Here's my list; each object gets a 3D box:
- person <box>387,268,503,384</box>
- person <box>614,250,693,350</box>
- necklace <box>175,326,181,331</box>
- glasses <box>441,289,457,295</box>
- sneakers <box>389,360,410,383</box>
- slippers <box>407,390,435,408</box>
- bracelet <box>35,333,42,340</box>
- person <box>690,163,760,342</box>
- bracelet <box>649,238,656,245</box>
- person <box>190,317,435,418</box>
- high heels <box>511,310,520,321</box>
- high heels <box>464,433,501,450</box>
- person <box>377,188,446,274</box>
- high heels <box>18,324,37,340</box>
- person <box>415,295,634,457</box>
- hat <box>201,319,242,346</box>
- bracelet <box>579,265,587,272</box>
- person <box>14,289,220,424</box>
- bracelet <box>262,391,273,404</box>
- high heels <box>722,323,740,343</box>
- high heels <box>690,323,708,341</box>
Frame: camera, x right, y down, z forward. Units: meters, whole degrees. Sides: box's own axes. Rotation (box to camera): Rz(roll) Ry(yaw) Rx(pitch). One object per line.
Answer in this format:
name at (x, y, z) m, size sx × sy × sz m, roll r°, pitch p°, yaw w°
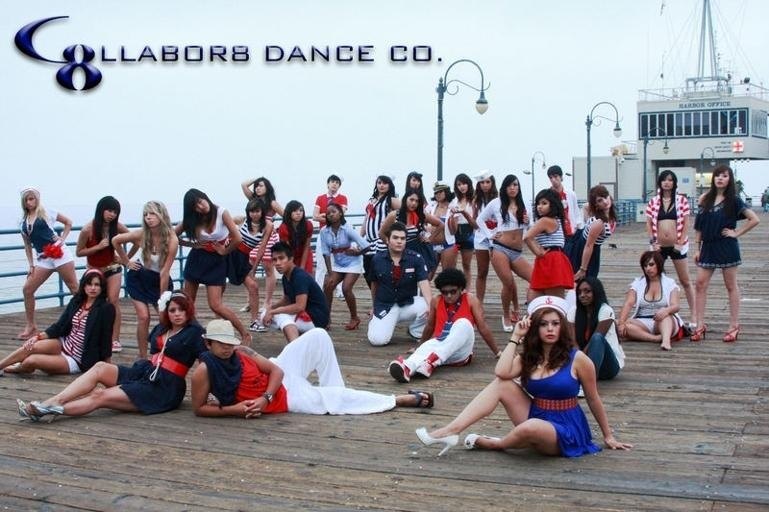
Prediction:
person at (0.662, 0.758, 8.594) m, size 0.928 × 0.925 × 1.196 m, roll 4°, pitch 11°, yaw 20°
person at (3.171, 0.556, 10.057) m, size 0.834 × 1.251 × 1.058 m, roll 0°, pitch 1°, yaw 34°
necklace at (-1.907, 0.669, 7.462) m, size 0.039 × 0.034 × 0.043 m, roll -1°, pitch -9°, yaw 2°
glasses at (0.691, 0.377, 8.543) m, size 0.161 × 0.080 × 0.064 m, roll 4°, pitch 11°, yaw 21°
sneakers at (0.169, 1.172, 8.249) m, size 0.120 × 0.319 × 0.137 m, roll -11°, pitch 14°, yaw 26°
slippers at (0.338, 1.339, 7.579) m, size 0.279 × 0.113 × 0.125 m, roll 1°, pitch 8°, yaw 37°
bracelet at (-3.616, 0.838, 8.449) m, size 0.029 × 0.053 × 0.057 m, roll -7°, pitch -1°, yaw -31°
person at (4.078, -0.030, 9.722) m, size 0.655 × 2.099 × 0.564 m, roll 4°, pitch 11°, yaw 22°
bracelet at (3.336, -0.188, 10.022) m, size 0.055 × 0.062 × 0.061 m, roll -3°, pitch 2°, yaw 4°
person at (-0.758, 1.172, 7.623) m, size 1.919 × 0.948 × 1.035 m, roll 1°, pitch 0°, yaw -5°
high heels at (1.667, 0.758, 10.305) m, size 0.092 × 0.137 × 0.298 m, roll -1°, pitch -8°, yaw 12°
high heels at (0.806, 1.531, 6.693) m, size 0.314 × 0.146 × 0.121 m, roll 1°, pitch 0°, yaw -1°
person at (0.313, -0.306, 10.426) m, size 0.828 × 1.640 × 0.491 m, roll -5°, pitch 12°, yaw -15°
high heels at (-4.521, 0.959, 10.223) m, size 0.222 × 0.166 × 0.081 m, roll -27°, pitch 5°, yaw 2°
person at (1.152, 1.008, 6.812) m, size 1.537 × 1.286 × 1.041 m, roll 4°, pitch -4°, yaw -32°
hat at (-1.453, 0.702, 7.206) m, size 0.279 × 0.297 × 0.319 m, roll -3°, pitch 11°, yaw -15°
bracelet at (2.451, 0.151, 9.923) m, size 0.074 × 0.061 × 0.130 m, roll 2°, pitch 11°, yaw 13°
person at (-2.369, 0.929, 7.267) m, size 1.041 × 1.076 × 1.714 m, roll 19°, pitch 15°, yaw 35°
bracelet at (-1.052, 1.274, 7.349) m, size 0.105 × 0.130 × 0.077 m, roll 2°, pitch 15°, yaw 13°
high heels at (4.179, 0.934, 9.735) m, size 0.125 × 0.183 × 0.391 m, roll -6°, pitch -6°, yaw 35°
high heels at (3.829, 0.949, 9.911) m, size 0.115 × 0.193 × 0.358 m, roll -11°, pitch -10°, yaw 41°
